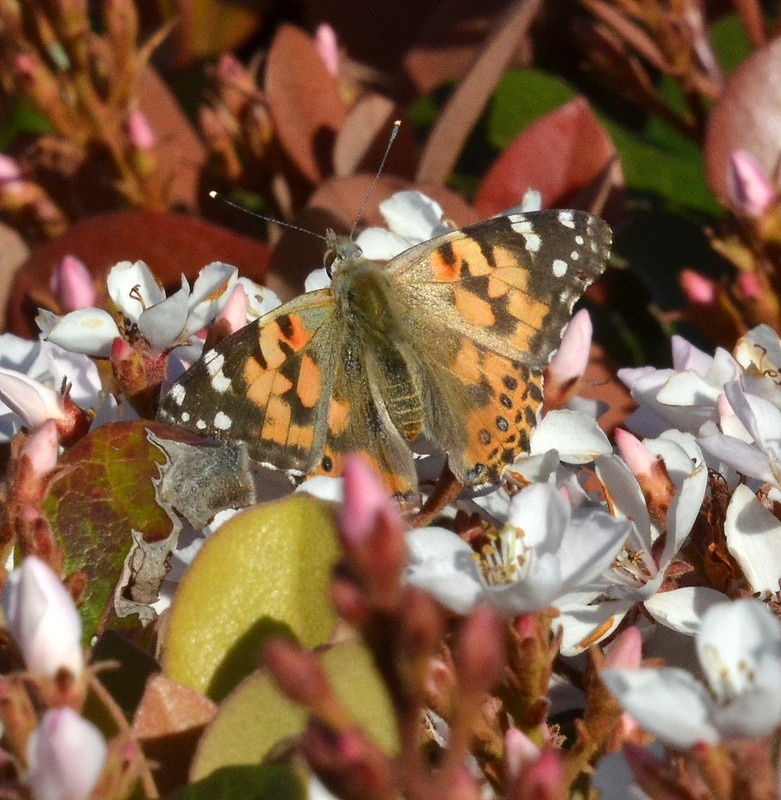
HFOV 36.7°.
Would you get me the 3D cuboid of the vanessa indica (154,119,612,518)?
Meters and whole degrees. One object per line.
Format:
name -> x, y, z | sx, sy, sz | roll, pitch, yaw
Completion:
vanessa indica -> 0.013, -0.059, 1.141 | 0.502, 0.127, 0.297 | -14, 66, -2
